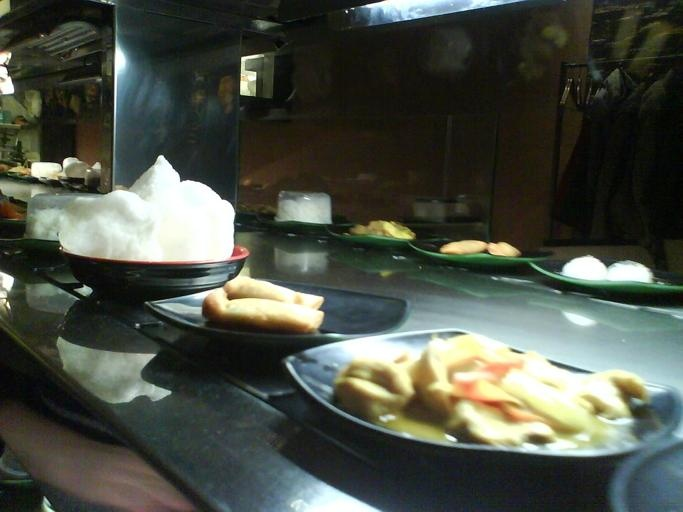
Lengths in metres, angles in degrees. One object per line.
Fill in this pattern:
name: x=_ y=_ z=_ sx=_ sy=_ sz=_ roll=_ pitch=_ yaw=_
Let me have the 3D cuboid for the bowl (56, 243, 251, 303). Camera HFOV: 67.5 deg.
bowl: x=-0.210 y=0.001 z=0.579 sx=0.162 sy=0.057 sz=0.135 roll=10 pitch=11 yaw=42

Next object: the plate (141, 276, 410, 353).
plate: x=-0.045 y=0.032 z=0.471 sx=0.199 sy=0.040 sz=0.148 roll=-1 pitch=9 yaw=26
